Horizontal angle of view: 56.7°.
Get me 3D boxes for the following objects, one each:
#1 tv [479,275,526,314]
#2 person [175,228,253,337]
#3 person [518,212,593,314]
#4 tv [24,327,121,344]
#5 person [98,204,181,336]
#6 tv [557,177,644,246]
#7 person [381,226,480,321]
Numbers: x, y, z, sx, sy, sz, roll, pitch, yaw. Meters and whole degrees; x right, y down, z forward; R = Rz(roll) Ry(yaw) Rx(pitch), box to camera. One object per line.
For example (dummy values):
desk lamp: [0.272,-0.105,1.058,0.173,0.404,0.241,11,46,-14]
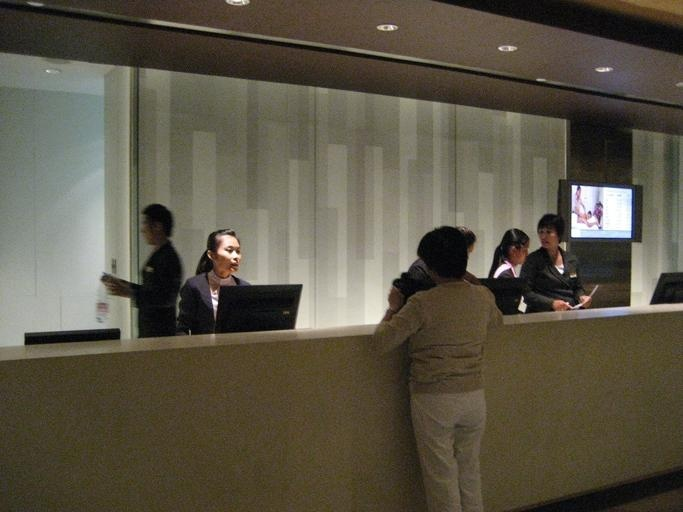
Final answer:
tv: [1.143,0.263,4.364,0.275,0.279,0.066,0,6,-22]
person: [-0.969,0.193,4.636,0.385,1.039,0.418,14,-37,-32]
person: [1.906,0.063,5.669,0.533,0.877,0.361,1,-2,4]
tv: [-1.496,0.448,3.460,0.468,0.087,0.100,-1,7,-20]
person: [-1.373,0.098,4.443,0.481,0.946,0.394,1,-2,-4]
tv: [2.793,-0.478,6.828,1.063,0.646,0.046,2,-2,-20]
person: [0.560,0.116,4.273,0.267,0.295,0.833,2,-19,-26]
